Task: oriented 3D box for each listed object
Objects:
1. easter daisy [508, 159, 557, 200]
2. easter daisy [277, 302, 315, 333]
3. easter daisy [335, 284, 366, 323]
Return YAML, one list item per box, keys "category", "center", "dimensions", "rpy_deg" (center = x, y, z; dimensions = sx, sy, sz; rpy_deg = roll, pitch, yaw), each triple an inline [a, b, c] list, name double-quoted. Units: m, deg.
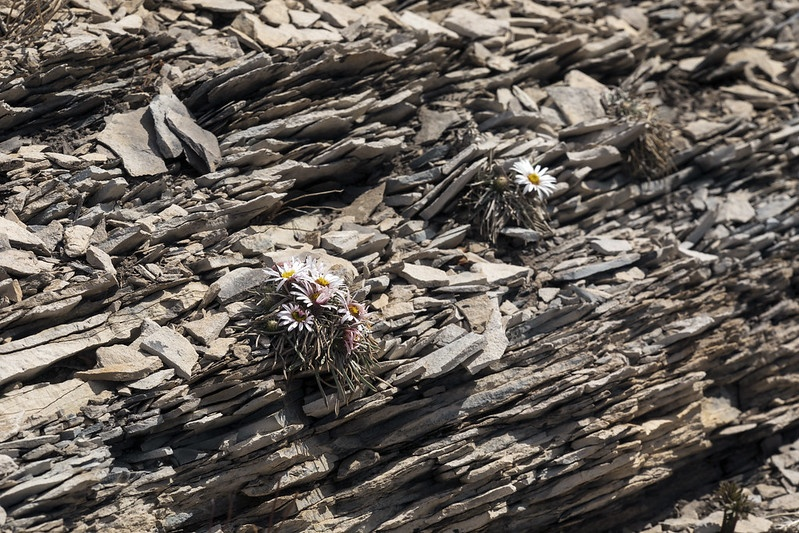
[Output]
- category: "easter daisy"
  center: [1.838, -1.149, 23.425]
  dimensions: [0.619, 0.576, 0.130]
  rpy_deg: [28, -46, -11]
- category: "easter daisy"
  center: [-1.362, 0.696, 21.828]
  dimensions: [0.472, 0.342, 0.220]
  rpy_deg: [-7, -1, 4]
- category: "easter daisy"
  center: [-0.658, 0.550, 22.037]
  dimensions: [0.442, 0.381, 0.161]
  rpy_deg: [-18, 2, 6]
